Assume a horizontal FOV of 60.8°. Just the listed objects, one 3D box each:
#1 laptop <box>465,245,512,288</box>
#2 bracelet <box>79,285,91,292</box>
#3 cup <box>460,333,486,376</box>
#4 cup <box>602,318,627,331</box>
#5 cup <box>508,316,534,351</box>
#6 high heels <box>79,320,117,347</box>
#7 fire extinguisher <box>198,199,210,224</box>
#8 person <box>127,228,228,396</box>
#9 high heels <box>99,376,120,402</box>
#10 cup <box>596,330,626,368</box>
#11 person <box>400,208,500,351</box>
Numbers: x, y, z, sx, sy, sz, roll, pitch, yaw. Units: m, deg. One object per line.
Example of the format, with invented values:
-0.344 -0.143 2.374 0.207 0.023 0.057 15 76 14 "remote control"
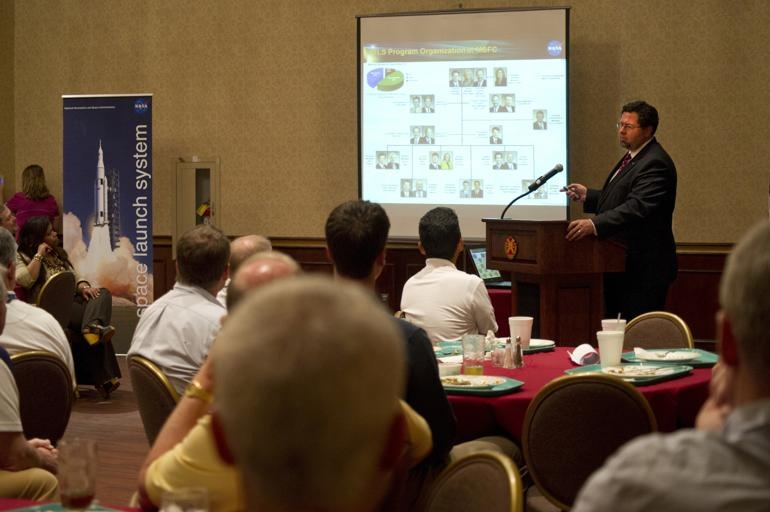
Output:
0.983 0.107 6.265 0.479 0.368 0.479 3 0 11 "laptop"
-2.850 0.309 6.243 0.099 0.074 0.095 10 -20 -28 "bracelet"
0.409 0.462 3.063 0.131 0.240 0.142 1 -5 0 "cup"
1.110 0.335 3.181 0.098 0.077 0.100 -1 -1 0 "cup"
0.686 0.392 3.325 0.138 0.175 0.149 0 0 0 "cup"
-2.628 0.712 6.013 0.249 0.209 0.188 -2 6 -29 "high heels"
-2.245 -0.530 8.136 0.184 0.289 0.097 6 -4 -6 "fire extinguisher"
-0.916 0.296 3.154 0.430 0.790 0.437 10 2 15 "person"
-2.575 1.206 6.118 0.171 0.196 0.297 -1 6 -26 "high heels"
1.019 0.433 3.062 0.135 0.175 0.145 0 -2 0 "cup"
0.324 0.280 3.622 0.455 0.979 0.505 11 -14 -38 "person"
